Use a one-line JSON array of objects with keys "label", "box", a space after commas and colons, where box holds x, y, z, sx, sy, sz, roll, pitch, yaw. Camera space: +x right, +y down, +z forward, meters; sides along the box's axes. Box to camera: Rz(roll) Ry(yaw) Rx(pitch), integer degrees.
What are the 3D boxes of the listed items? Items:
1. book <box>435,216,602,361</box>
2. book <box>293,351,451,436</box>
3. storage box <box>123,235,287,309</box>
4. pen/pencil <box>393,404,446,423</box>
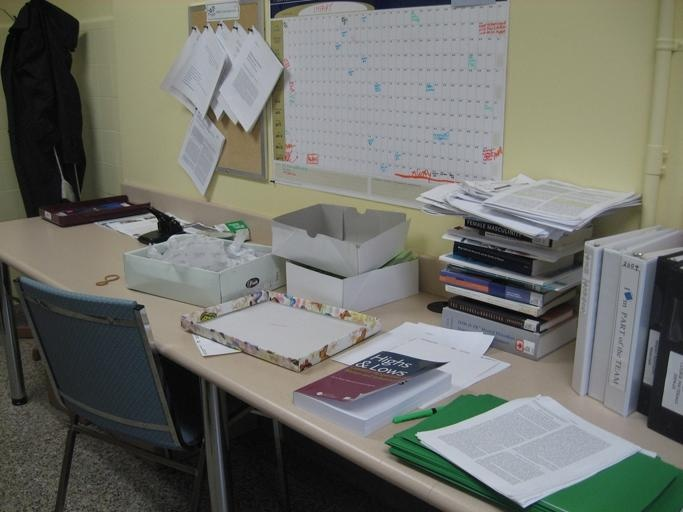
[{"label": "book", "box": [0.506, 0.039, 1.726, 0.347, 0.425, 0.439, -16, 23, -42]}, {"label": "book", "box": [0.086, 0.314, 1.352, 0.249, 0.071, 0.180, -17, 23, -42]}, {"label": "storage box", "box": [-0.498, -0.021, 1.903, 0.384, 0.121, 0.271, 15, 21, 42]}, {"label": "pen/pencil", "box": [0.174, 0.358, 1.296, 0.079, 0.014, 0.019, -13, -5, -16]}]
